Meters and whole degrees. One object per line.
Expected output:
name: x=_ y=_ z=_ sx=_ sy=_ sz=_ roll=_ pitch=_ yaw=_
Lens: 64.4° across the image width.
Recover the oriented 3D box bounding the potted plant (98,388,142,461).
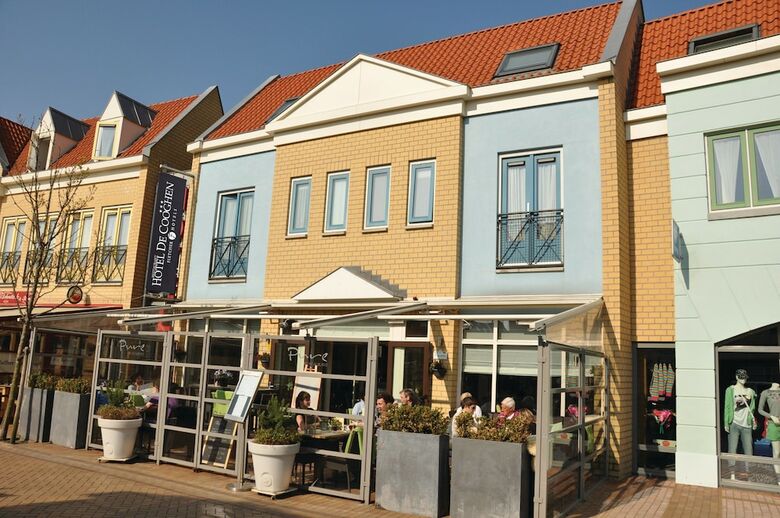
potted plant: x=-6.723 y=4.128 z=15.331 sx=1.006 sy=1.738 sz=0.640 roll=6 pitch=-12 yaw=-24

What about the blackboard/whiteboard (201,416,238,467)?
blackboard/whiteboard: x=-4.081 y=4.219 z=14.706 sx=1.014 sy=1.373 sz=0.110 roll=-1 pitch=-23 yaw=27

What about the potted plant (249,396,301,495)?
potted plant: x=-2.599 y=4.145 z=13.789 sx=1.193 sy=1.882 sz=1.124 roll=4 pitch=-6 yaw=-3

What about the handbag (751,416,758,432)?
handbag: x=8.453 y=3.843 z=14.293 sx=0.072 sy=0.240 sz=0.168 roll=2 pitch=-5 yaw=-27
